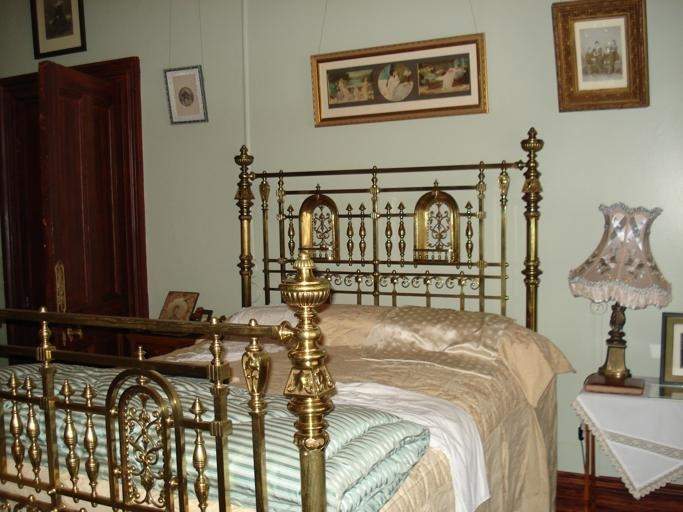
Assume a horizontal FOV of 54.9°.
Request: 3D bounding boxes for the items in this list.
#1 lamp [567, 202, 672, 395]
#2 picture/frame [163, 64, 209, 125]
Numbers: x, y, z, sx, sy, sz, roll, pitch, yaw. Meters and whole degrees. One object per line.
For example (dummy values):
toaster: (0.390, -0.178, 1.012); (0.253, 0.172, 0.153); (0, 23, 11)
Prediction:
lamp: (1.623, 0.237, 3.872); (0.542, 1.091, 0.360); (2, 4, 21)
picture/frame: (-1.195, -1.270, 5.113); (0.430, 0.529, 0.037); (1, 14, 26)
